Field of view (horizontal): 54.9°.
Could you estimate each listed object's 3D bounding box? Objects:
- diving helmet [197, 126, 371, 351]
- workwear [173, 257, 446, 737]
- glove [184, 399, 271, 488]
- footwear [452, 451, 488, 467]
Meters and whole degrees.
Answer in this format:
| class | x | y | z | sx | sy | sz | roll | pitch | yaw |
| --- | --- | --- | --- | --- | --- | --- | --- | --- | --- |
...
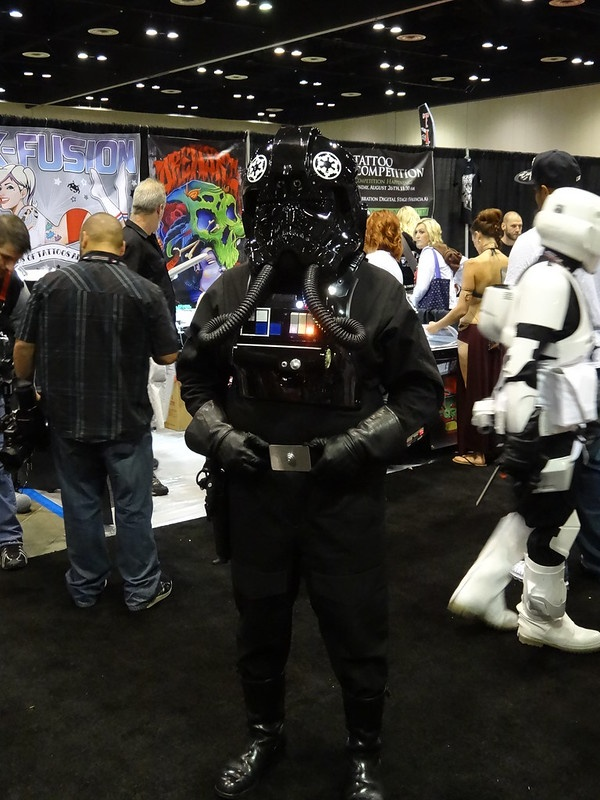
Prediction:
| class | x | y | z | sx | sy | sz | roll | pitch | yaw |
| --- | --- | --- | --- | --- | --- | --- | --- | --- | --- |
| diving helmet | -0.033 | -0.314 | 1.050 | 0.302 | 0.413 | 0.341 | 0 | 11 | 6 |
| workwear | -0.040 | 0.249 | 1.366 | 0.545 | 1.083 | 0.526 | 1 | 17 | -12 |
| glove | -0.150 | 0.075 | 1.169 | 0.071 | 0.107 | 0.237 | -9 | 14 | -36 |
| footwear | 1.426 | 0.500 | 4.841 | 0.230 | 0.094 | 0.108 | 8 | 8 | 43 |
